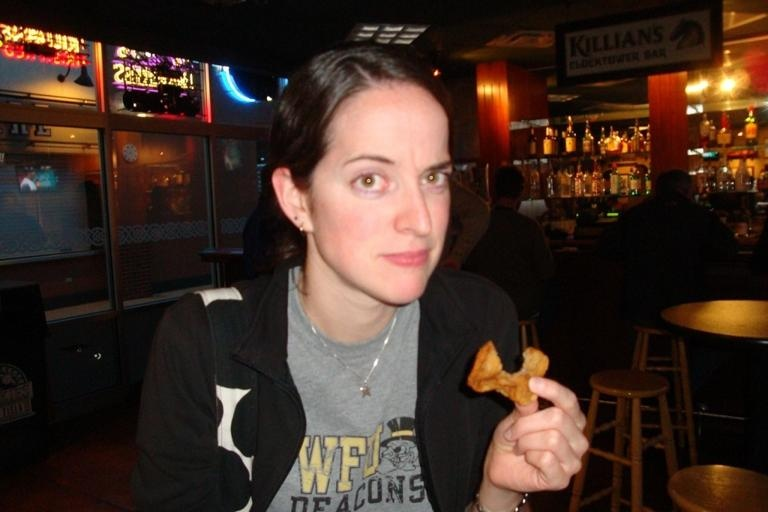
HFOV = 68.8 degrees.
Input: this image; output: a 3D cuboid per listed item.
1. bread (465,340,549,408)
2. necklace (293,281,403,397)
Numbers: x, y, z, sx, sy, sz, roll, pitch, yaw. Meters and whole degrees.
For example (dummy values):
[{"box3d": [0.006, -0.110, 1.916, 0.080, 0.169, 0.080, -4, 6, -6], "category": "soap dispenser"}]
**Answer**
[{"box3d": [0.515, 0.490, 2.253, 0.269, 0.258, 0.092, -3, -20, 23], "category": "bread"}, {"box3d": [-0.161, 0.361, 2.382, 0.464, 0.456, 0.123, -6, 7, -2], "category": "necklace"}]
